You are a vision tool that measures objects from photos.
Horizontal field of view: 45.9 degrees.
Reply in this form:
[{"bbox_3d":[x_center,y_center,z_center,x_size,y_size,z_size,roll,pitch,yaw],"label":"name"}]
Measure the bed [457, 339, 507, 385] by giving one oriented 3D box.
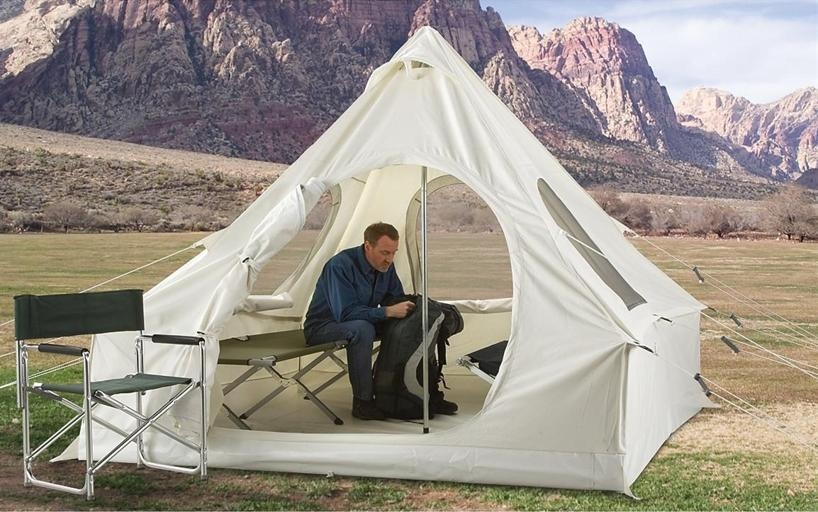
[{"bbox_3d":[6.929,9.093,85.116,3.978,1.139,3.672,29,53,27],"label":"bed"}]
